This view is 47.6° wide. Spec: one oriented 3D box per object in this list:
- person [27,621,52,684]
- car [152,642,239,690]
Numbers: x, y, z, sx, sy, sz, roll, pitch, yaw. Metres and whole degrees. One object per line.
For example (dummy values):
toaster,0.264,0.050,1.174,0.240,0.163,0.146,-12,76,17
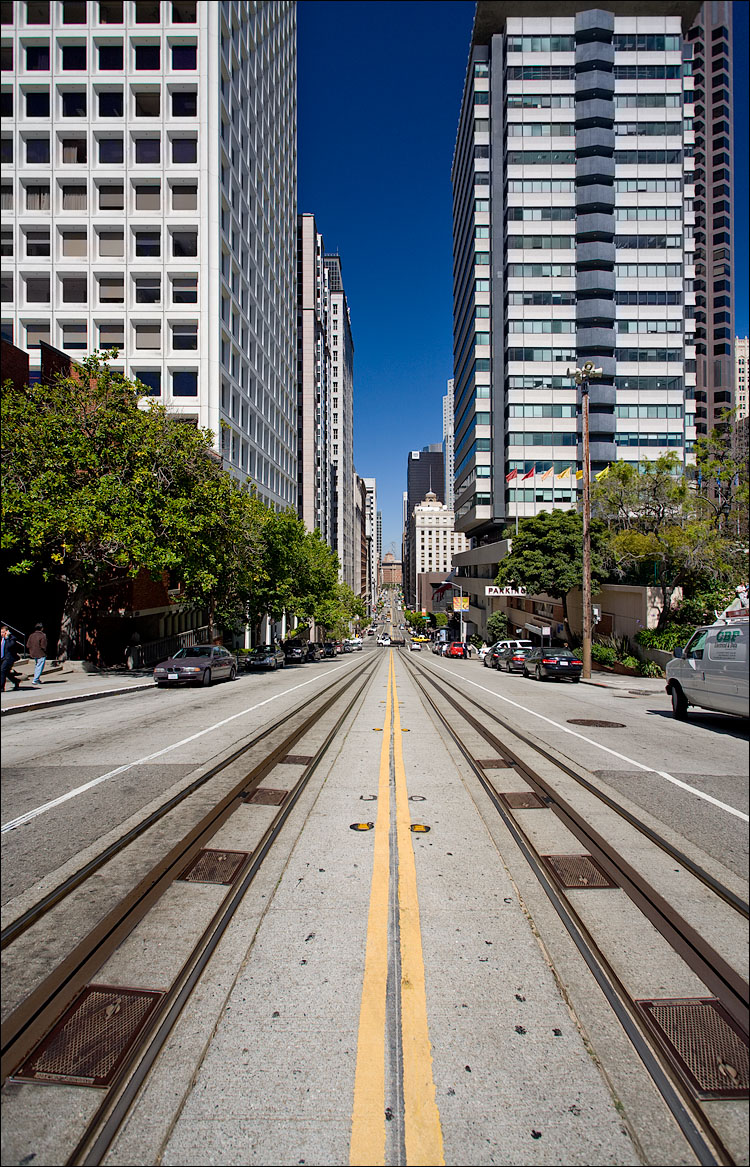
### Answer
person,-6.921,1.505,17.833,0.315,1.399,1.934,0,1,-22
car,-4.381,2.162,21.551,0.951,1.079,3.578,0,1,7
